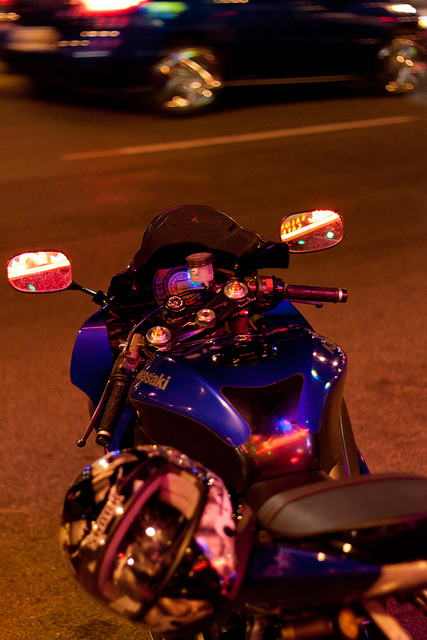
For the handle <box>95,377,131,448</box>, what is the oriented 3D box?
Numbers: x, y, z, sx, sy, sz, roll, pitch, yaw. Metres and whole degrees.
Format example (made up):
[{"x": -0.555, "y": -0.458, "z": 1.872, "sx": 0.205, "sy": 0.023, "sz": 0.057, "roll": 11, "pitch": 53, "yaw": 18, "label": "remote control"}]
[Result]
[{"x": -0.318, "y": 0.289, "z": 1.822, "sx": 0.092, "sy": 0.086, "sz": 0.226, "roll": 22, "pitch": 47, "yaw": 1, "label": "handle"}]
